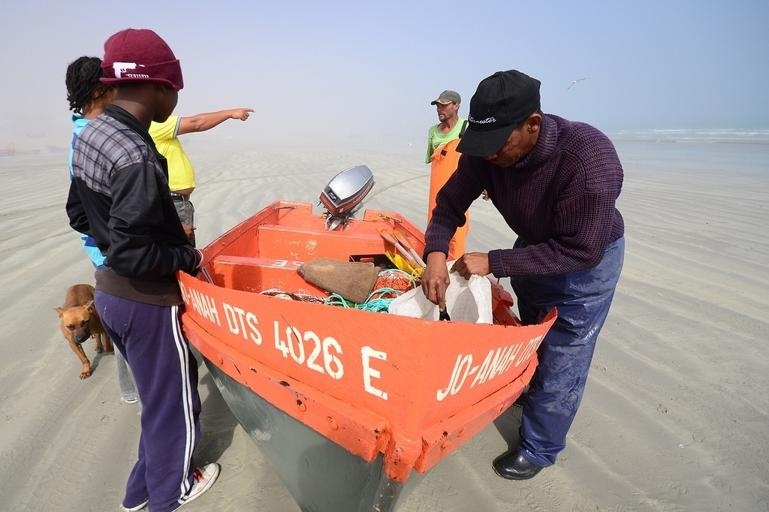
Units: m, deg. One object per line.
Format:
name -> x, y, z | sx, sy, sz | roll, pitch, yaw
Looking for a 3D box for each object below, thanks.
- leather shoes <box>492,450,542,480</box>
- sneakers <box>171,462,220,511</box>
leather shoes -> 1.001, 1.609, 3.419 | 0.364, 0.161, 0.191 | 1, 53, -10
sneakers -> -1.363, 1.649, 3.218 | 0.119, 0.126, 0.317 | 27, 46, 9
